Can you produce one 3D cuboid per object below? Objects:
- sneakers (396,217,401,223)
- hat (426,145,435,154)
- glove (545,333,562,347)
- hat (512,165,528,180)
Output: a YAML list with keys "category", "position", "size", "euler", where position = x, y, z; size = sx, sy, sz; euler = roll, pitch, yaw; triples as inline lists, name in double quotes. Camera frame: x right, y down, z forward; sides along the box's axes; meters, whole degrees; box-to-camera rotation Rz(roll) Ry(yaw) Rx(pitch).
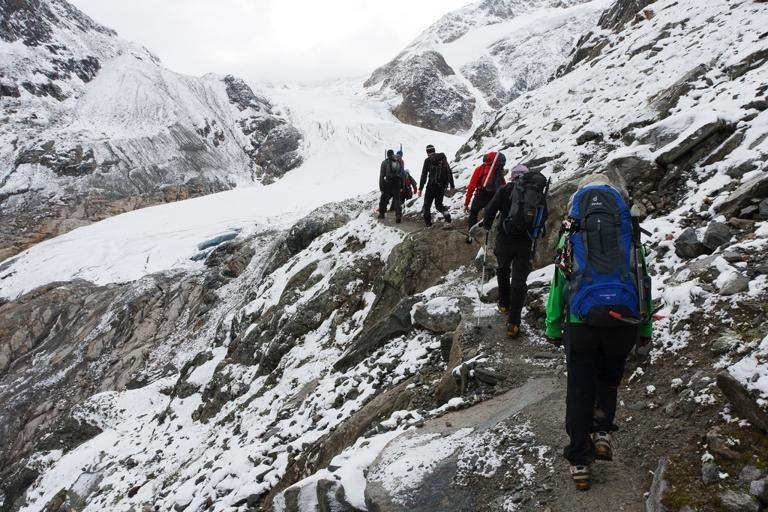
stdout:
- category: "sneakers"
  position: [0.731, -1.772, 29.648]
  size: [0.190, 0.201, 0.193]
  euler: [0, 13, -4]
- category: "hat"
  position: [2.185, -5.013, 27.582]
  size: [0.351, 0.434, 0.445]
  euler: [4, 18, 6]
- category: "glove"
  position: [5.942, 2.978, 20.511]
  size: [0.451, 0.271, 0.401]
  euler: [-2, -13, 40]
- category: "hat"
  position: [5.251, -3.269, 22.771]
  size: [0.591, 0.499, 0.545]
  euler: [23, 26, 39]
